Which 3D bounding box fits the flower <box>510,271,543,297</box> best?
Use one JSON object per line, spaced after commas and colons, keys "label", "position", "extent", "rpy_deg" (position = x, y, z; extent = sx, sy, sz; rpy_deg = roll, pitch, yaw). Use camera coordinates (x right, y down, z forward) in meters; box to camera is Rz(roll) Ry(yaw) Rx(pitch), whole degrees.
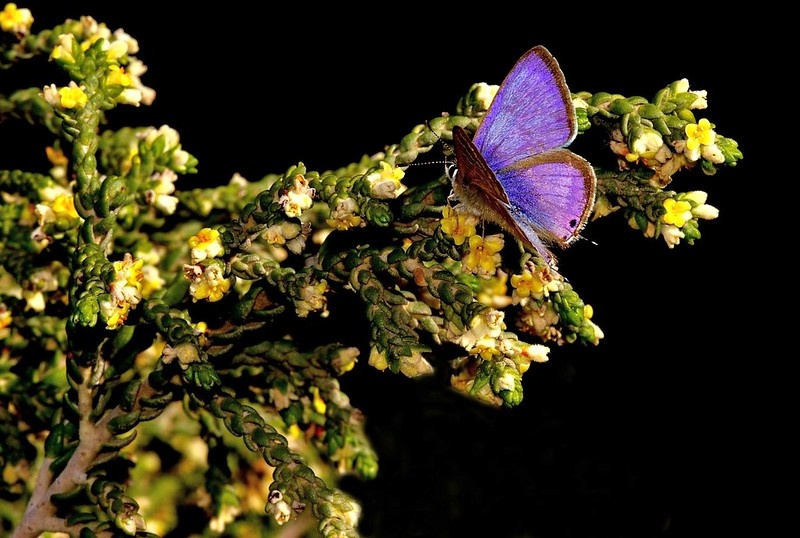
{"label": "flower", "position": [0.358, 0.044, 2.725], "extent": [0.079, 0.046, 0.068], "rpy_deg": [18, -60, 13]}

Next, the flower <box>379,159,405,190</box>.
{"label": "flower", "position": [-0.022, -0.268, 2.710], "extent": [0.074, 0.076, 0.029], "rpy_deg": [34, -57, 2]}

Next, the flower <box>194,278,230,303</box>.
{"label": "flower", "position": [-0.537, 0.070, 2.716], "extent": [0.072, 0.070, 0.018], "rpy_deg": [1, 25, -4]}

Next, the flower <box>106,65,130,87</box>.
{"label": "flower", "position": [-0.823, -0.562, 2.825], "extent": [0.066, 0.059, 0.032], "rpy_deg": [35, 0, -20]}

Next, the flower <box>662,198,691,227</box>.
{"label": "flower", "position": [0.751, -0.152, 2.636], "extent": [0.067, 0.077, 0.040], "rpy_deg": [-26, -30, -11]}

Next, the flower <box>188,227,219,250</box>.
{"label": "flower", "position": [-0.557, -0.086, 2.741], "extent": [0.060, 0.060, 0.028], "rpy_deg": [41, -14, 47]}

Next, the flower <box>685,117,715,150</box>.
{"label": "flower", "position": [0.806, -0.361, 2.613], "extent": [0.078, 0.080, 0.039], "rpy_deg": [34, 17, 1]}

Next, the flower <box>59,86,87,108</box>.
{"label": "flower", "position": [-0.940, -0.492, 2.777], "extent": [0.064, 0.065, 0.024], "rpy_deg": [-1, 3, -19]}

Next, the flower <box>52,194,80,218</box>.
{"label": "flower", "position": [-1.045, -0.193, 3.007], "extent": [0.087, 0.086, 0.030], "rpy_deg": [2, -29, -27]}
